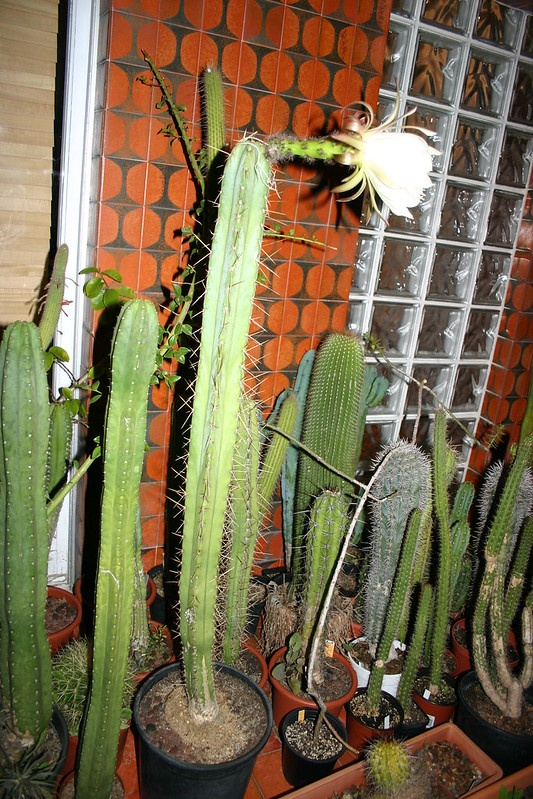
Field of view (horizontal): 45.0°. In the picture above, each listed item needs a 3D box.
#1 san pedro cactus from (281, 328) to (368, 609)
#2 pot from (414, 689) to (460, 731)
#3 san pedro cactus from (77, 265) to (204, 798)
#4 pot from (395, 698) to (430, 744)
[{"bbox_3d":[0.198,0.204,1.768,0.185,0.790,0.203,9,-4,0],"label":"san pedro cactus"},{"bbox_3d":[0.435,0.769,1.633,0.090,0.072,0.085,0,8,0],"label":"pot"},{"bbox_3d":[-0.240,0.284,1.105,0.199,0.980,0.203,-9,22,-19],"label":"san pedro cactus"},{"bbox_3d":[0.351,0.796,1.615,0.073,0.100,0.084,-3,26,-15],"label":"pot"}]
